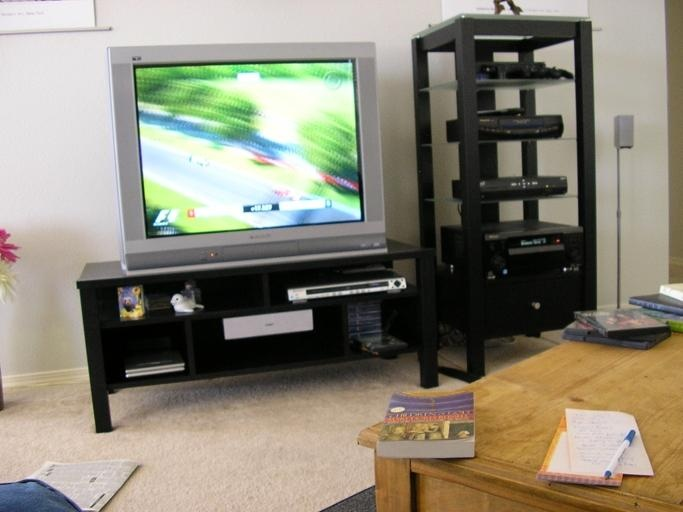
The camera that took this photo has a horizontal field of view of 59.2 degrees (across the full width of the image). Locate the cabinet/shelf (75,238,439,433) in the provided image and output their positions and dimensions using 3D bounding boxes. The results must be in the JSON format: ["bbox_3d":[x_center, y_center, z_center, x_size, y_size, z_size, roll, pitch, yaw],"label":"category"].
[{"bbox_3d":[-0.417,0.329,3.238,1.719,0.720,0.691,-6,12,-12],"label":"cabinet/shelf"}]

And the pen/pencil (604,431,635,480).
[{"bbox_3d":[0.703,0.496,1.522,0.020,0.019,0.200,-4,19,46],"label":"pen/pencil"}]

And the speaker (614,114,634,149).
[{"bbox_3d":[1.774,-0.787,3.806,0.112,0.202,0.102,3,15,23],"label":"speaker"}]

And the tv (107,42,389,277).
[{"bbox_3d":[-0.473,-0.484,2.927,1.179,0.889,0.422,-3,5,-14],"label":"tv"}]

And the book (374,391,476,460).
[{"bbox_3d":[0.244,0.453,1.657,0.283,0.056,0.291,-9,16,4],"label":"book"}]

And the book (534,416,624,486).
[{"bbox_3d":[0.597,0.457,1.472,0.180,0.237,0.026,7,27,14],"label":"book"}]
